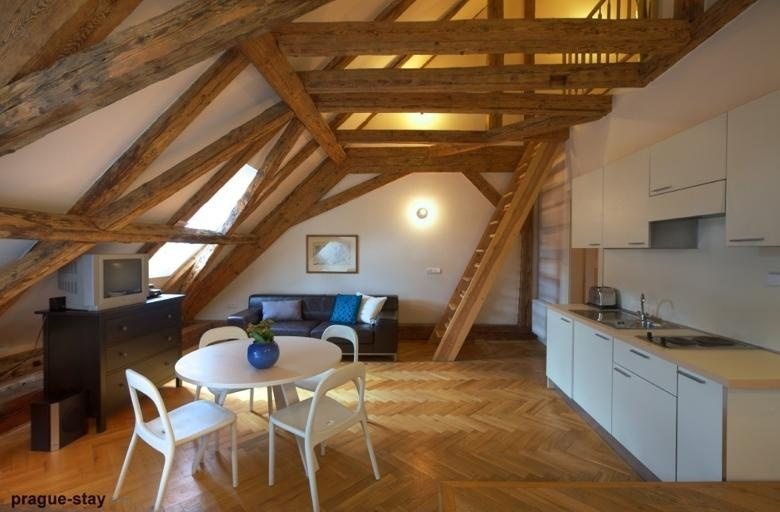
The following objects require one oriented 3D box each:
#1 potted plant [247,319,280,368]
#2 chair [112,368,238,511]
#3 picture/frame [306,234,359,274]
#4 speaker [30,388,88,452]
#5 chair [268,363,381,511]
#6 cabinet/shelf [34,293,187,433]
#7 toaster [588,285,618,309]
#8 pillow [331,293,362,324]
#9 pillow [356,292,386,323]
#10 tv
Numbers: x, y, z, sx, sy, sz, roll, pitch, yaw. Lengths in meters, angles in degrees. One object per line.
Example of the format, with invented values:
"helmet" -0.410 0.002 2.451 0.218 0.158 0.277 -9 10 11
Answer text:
"potted plant" -1.090 0.780 4.662 0.286 0.355 0.276 -5 7 -26
"chair" -1.711 1.508 4.482 0.937 1.196 0.546 5 -1 -25
"picture/frame" -0.851 -0.042 8.328 0.699 0.448 0.023 1 -3 -1
"speaker" -3.152 1.562 5.158 0.275 0.438 0.497 0 0 4
"chair" -0.621 1.458 4.770 0.990 1.232 0.867 4 -1 43
"cabinet/shelf" -2.966 1.078 5.918 0.838 1.081 1.392 2 4 12
"toaster" 2.307 0.440 5.852 0.231 0.199 0.313 1 -3 -1
"pillow" -0.620 0.756 7.685 0.435 0.382 0.126 -1 -21 24
"pillow" -0.277 0.737 7.587 0.395 0.341 0.116 3 -24 42
"tv" -2.987 0.242 5.654 0.690 0.455 0.690 1 3 31
